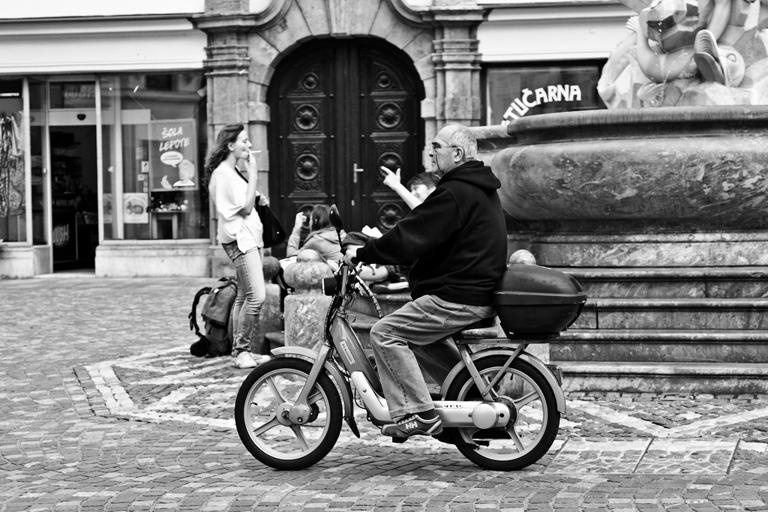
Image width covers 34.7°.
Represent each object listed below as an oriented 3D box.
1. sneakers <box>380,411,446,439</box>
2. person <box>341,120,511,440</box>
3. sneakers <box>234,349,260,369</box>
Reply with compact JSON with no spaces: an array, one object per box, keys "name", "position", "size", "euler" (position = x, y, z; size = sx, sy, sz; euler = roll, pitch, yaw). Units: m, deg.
[{"name":"sneakers","position":[0.233,1.370,9.796],"size":[0.541,0.271,0.187],"euler":[1,-2,3]},{"name":"person","position":[0.412,0.246,9.708],"size":[1.125,2.479,0.463],"euler":[-4,10,-21]},{"name":"sneakers","position":[-1.431,1.129,12.954],"size":[0.180,0.133,0.330],"euler":[-1,-1,-33]}]
